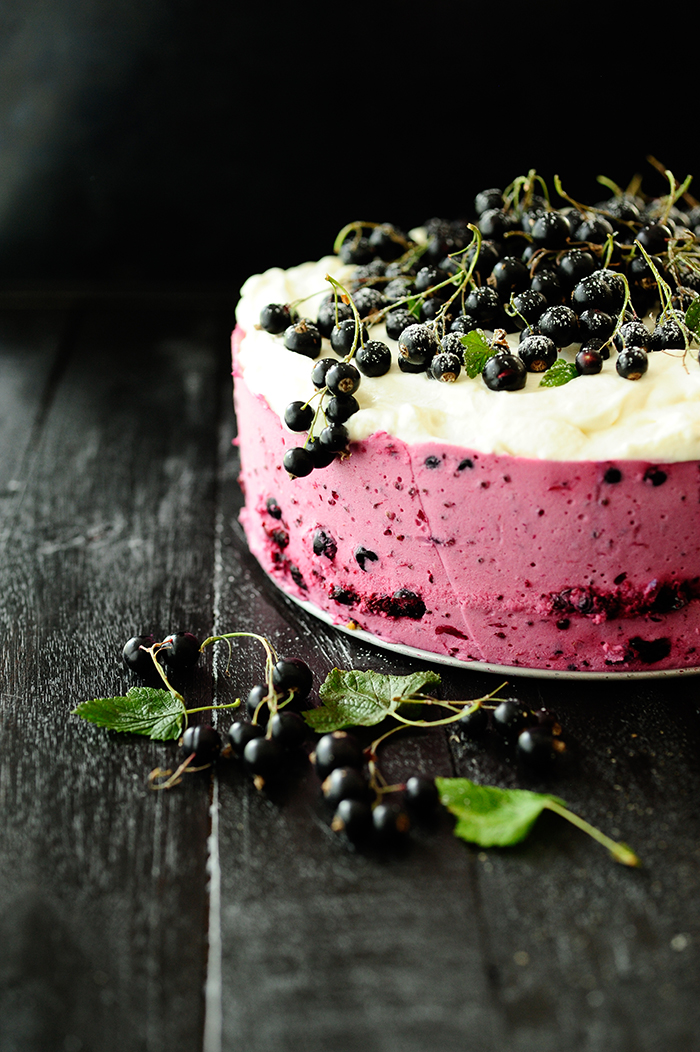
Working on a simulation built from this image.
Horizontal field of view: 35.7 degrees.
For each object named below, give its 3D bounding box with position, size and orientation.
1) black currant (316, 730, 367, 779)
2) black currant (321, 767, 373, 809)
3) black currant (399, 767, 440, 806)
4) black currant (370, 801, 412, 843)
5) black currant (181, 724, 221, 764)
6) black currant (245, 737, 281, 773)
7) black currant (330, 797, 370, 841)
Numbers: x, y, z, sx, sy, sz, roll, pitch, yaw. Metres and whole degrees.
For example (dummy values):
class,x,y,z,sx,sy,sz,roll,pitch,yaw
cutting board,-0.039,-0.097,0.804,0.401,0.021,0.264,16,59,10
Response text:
class,x,y,z,sx,sy,sz,roll,pitch,yaw
black currant,-0.016,0.280,1.342,0.062,0.058,0.056,0,3,4
black currant,-0.005,0.316,1.313,0.057,0.048,0.057,-3,33,2
black currant,0.086,0.325,1.354,0.045,0.044,0.041,-1,5,5
black currant,0.050,0.364,1.333,0.046,0.059,0.054,-5,15,0
black currant,-0.196,0.287,1.436,0.062,0.051,0.054,2,34,2
black currant,-0.113,0.290,1.375,0.050,0.047,0.044,2,5,6
black currant,0.010,0.357,1.329,0.063,0.040,0.044,-14,-13,9
